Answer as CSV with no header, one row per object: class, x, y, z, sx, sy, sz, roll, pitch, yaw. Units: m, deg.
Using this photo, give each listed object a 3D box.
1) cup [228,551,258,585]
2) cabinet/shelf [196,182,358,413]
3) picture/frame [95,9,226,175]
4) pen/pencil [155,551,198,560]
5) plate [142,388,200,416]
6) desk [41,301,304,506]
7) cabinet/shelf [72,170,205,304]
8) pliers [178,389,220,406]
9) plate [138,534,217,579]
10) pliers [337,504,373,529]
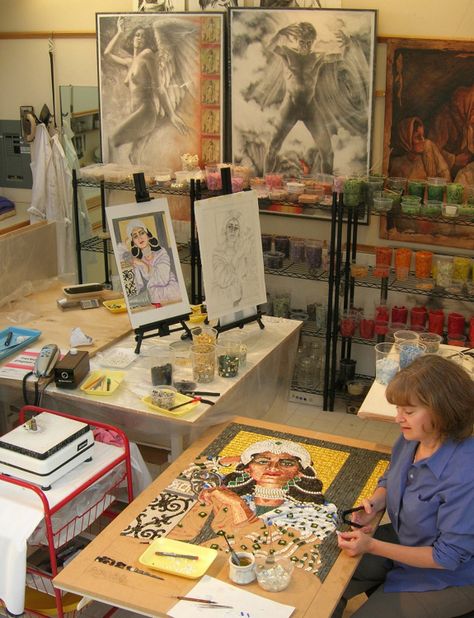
cup,0.014,0.665,1.233,0.064,0.051,0.063,0,33,0
cabinet/shelf,0.315,-0.110,3.317,1.482,1.662,0.524,23,38,38
picture/frame,-0.714,-1.978,4.305,1.348,1.403,0.198,3,8,20
pen/pencil,-0.162,0.665,1.279,0.111,0.012,0.013,1,-8,19
plate,-0.301,0.423,2.130,0.187,0.032,0.128,14,30,24
desk,-0.350,0.369,2.504,0.874,0.527,0.882,17,34,30
cabinet/shelf,-0.704,-0.570,3.526,1.153,1.271,0.459,10,23,31
pliers,-0.170,0.398,2.213,0.128,0.025,0.071,11,23,23
plate,-0.159,0.671,1.276,0.191,0.036,0.121,3,8,22
pliers,0.361,0.653,1.482,0.070,0.060,0.028,2,-4,21
